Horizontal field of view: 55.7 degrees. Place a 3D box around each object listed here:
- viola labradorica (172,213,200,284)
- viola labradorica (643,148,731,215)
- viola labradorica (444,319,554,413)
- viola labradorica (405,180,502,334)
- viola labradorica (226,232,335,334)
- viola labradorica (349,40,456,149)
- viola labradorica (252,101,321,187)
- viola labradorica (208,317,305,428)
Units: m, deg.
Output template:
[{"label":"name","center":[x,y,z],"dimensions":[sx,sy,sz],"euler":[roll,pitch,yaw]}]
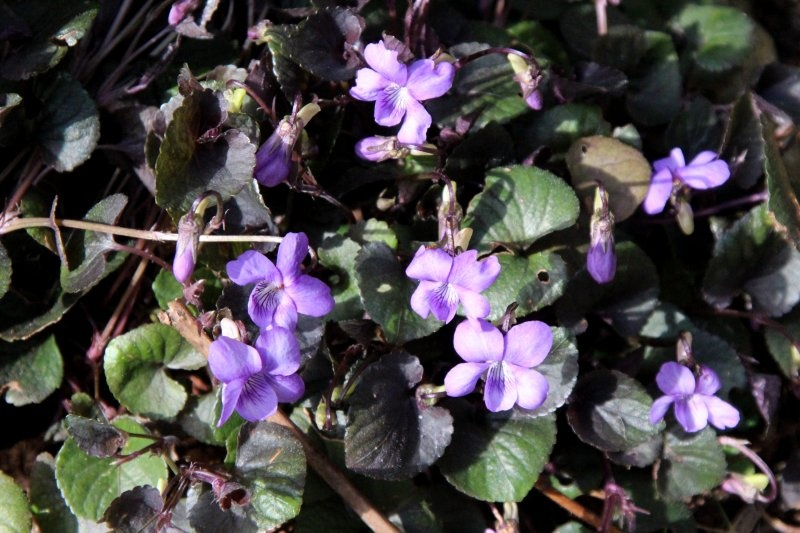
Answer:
[{"label":"viola labradorica","center":[-0.516,-0.036,1.833],"dimensions":[0.063,0.179,0.112],"euler":[-2,33,-15]},{"label":"viola labradorica","center":[0.751,-0.226,1.991],"dimensions":[0.182,0.152,0.174],"euler":[18,34,13]},{"label":"viola labradorica","center":[0.234,0.227,1.799],"dimensions":[0.239,0.183,0.130],"euler":[10,32,2]},{"label":"viola labradorica","center":[0.138,-0.002,1.887],"dimensions":[0.214,0.293,0.277],"euler":[13,33,8]},{"label":"viola labradorica","center":[-0.287,0.029,1.833],"dimensions":[0.257,0.212,0.163],"euler":[22,35,19]},{"label":"viola labradorica","center":[0.003,-0.434,1.919],"dimensions":[0.255,0.220,0.180],"euler":[2,33,-11]},{"label":"viola labradorica","center":[-0.304,-0.316,1.935],"dimensions":[0.093,0.259,0.124],"euler":[43,23,27]},{"label":"viola labradorica","center":[-0.324,0.216,1.772],"dimensions":[0.214,0.067,0.254],"euler":[25,7,18]}]
